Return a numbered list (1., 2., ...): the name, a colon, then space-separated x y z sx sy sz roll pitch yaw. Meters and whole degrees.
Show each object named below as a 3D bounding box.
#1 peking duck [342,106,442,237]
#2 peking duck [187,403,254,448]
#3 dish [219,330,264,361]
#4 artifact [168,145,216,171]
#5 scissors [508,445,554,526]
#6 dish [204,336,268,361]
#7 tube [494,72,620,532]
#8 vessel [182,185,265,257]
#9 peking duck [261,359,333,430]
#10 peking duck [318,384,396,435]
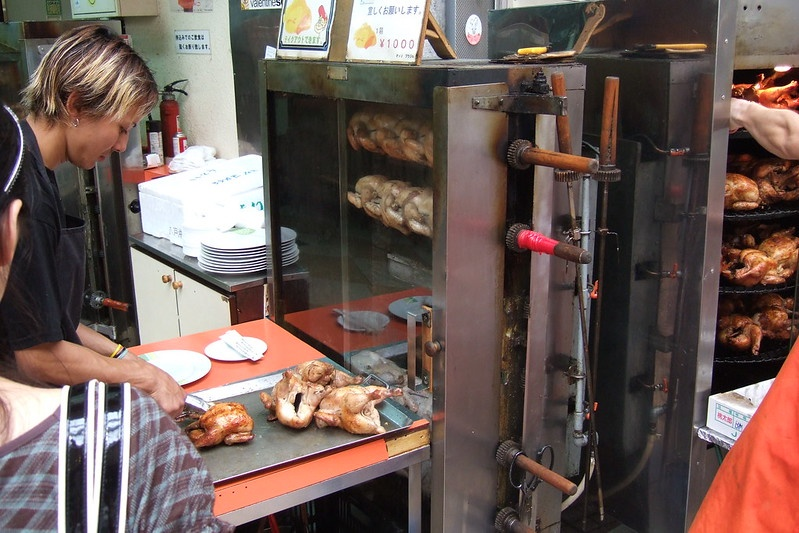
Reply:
1. peking duck: 0.003 -0.375 2.405 0.137 0.455 0.434 -16 23 -40
2. peking duck: -0.619 0.534 2.155 0.172 0.083 0.146 -9 29 -23
3. dish: -0.695 0.339 2.769 0.083 0.040 0.252 -20 41 -28
4. artifact: -1.471 -0.804 4.397 0.242 0.080 0.253 11 30 33
5. scissors: 0.492 0.868 2.407 0.191 0.365 0.017 -9 24 -24
6. dish: -0.736 0.368 2.778 0.141 0.020 0.146 23 30 37
7. tube: 0.699 0.331 2.498 0.373 2.139 0.798 10 23 33
8. vessel: -1.013 -0.295 3.603 0.636 0.446 0.341 -3 7 -40
9. peking duck: -0.373 0.482 2.335 0.228 0.131 0.287 11 36 -3
10. peking duck: -0.149 0.504 2.239 0.217 0.084 0.166 4 23 13
